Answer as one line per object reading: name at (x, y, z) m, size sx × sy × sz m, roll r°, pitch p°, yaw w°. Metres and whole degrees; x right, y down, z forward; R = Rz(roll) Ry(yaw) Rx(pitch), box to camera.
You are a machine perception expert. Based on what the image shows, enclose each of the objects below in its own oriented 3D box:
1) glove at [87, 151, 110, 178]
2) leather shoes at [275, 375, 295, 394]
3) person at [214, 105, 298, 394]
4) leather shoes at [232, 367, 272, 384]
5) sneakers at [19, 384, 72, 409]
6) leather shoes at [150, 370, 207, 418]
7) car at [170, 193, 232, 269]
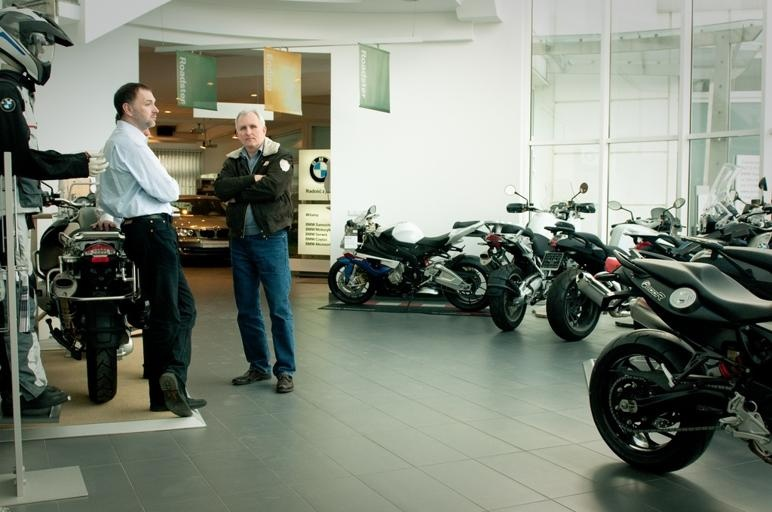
glove at (-1.843, -0.586, 3.916) m, size 0.125 × 0.122 × 0.234 m, roll -33°, pitch 23°, yaw -35°
leather shoes at (-0.802, 1.013, 4.855) m, size 0.130 × 0.105 × 0.168 m, roll -1°, pitch 8°, yaw -8°
person at (-1.010, -0.059, 4.989) m, size 0.572 × 2.244 × 0.876 m, roll -7°, pitch 12°, yaw -40°
leather shoes at (-1.100, 1.001, 5.107) m, size 0.332 × 0.122 × 0.116 m, roll 1°, pitch 1°, yaw -26°
sneakers at (-2.298, 0.949, 4.136) m, size 0.229 × 0.069 × 0.150 m, roll -2°, pitch 0°, yaw -12°
leather shoes at (-1.509, 0.987, 4.214) m, size 0.199 × 0.219 × 0.542 m, roll -21°, pitch -22°, yaw 5°
car at (-4.367, -0.609, 14.547) m, size 1.882 × 1.067 × 3.643 m, roll 0°, pitch 2°, yaw -13°
